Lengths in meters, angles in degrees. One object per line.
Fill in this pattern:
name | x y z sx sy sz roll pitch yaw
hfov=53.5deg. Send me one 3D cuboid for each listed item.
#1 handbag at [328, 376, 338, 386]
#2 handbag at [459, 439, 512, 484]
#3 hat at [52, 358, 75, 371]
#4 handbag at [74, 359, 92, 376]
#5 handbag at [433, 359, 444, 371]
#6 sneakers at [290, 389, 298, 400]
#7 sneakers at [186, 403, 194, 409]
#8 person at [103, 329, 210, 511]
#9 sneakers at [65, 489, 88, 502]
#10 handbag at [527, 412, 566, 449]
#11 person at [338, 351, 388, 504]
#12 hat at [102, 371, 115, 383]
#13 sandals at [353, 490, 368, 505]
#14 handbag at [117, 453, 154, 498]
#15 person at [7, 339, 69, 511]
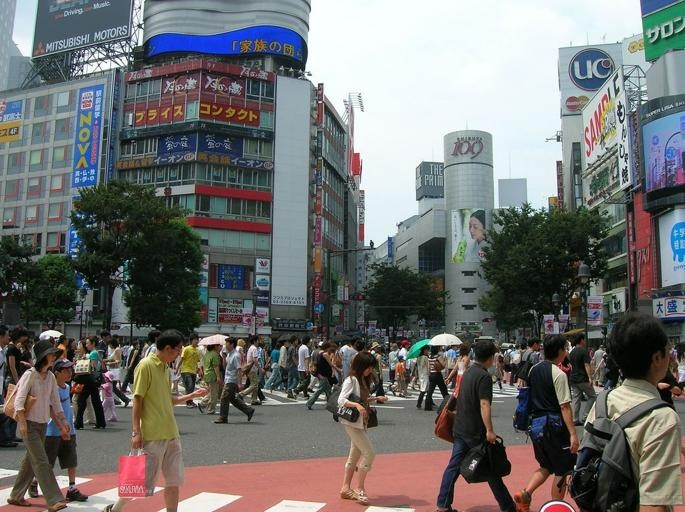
handbag | -0.258 3.589 19.163 0.208 0.400 0.397 -3 -4 11
handbag | 1.571 2.260 7.540 0.548 0.463 0.208 0 -8 -8
hat | -3.793 1.482 9.272 0.202 0.116 0.146 -8 -9 13
handbag | -5.402 2.345 14.224 0.330 0.335 0.132 -1 -7 13
handbag | 2.610 2.990 18.518 0.253 0.303 0.325 3 -9 -19
sneakers | -1.564 4.530 22.150 0.188 0.464 0.152 -8 13 -26
sneakers | -4.344 4.298 19.473 0.266 0.128 0.108 -14 -15 42
person | -2.012 1.792 7.459 0.546 1.943 0.450 1 -8 -16
sneakers | -3.412 3.075 8.756 0.304 0.138 0.116 3 -6 6
handbag | 2.329 1.972 7.807 0.307 0.332 0.446 6 -11 -32
person | 0.238 2.262 9.160 0.580 1.932 1.101 -1 -8 2
hat | -5.442 2.829 15.868 0.241 0.230 0.317 -7 3 -5
sandals | 0.235 3.096 8.735 0.111 0.149 0.269 4 -9 -31
handbag | -2.161 2.290 7.111 0.312 0.462 0.368 0 -8 -7
person | -3.757 2.107 8.516 0.661 2.083 0.798 3 -9 -26
